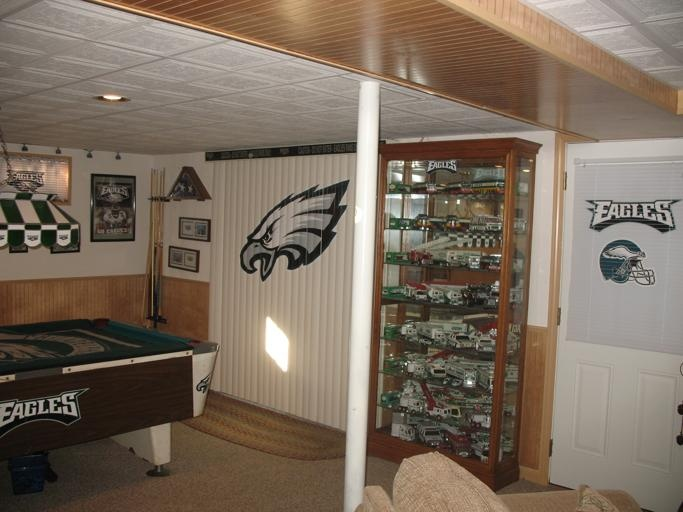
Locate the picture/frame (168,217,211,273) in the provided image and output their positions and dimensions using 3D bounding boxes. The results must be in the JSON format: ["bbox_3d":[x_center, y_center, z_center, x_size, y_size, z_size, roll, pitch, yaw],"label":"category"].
[{"bbox_3d":[-2.045,-0.151,6.843,0.955,0.641,0.037,5,9,41],"label":"picture/frame"}]
